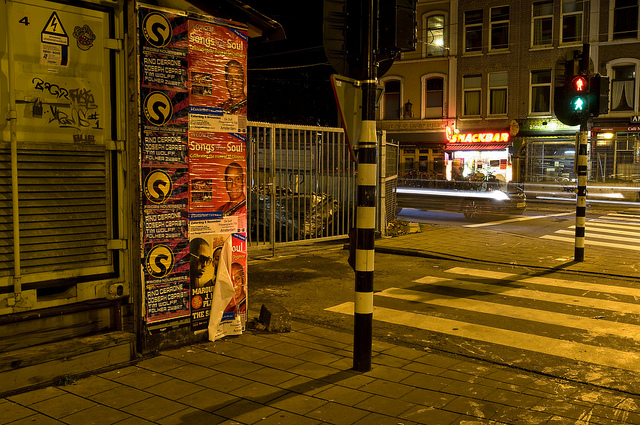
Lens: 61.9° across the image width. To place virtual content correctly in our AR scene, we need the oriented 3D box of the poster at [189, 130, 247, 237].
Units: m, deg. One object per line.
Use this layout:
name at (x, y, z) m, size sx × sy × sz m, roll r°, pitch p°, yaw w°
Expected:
poster at (-1.337, -0.383, 6.950) m, size 0.850 × 1.346 × 0.161 m, roll -6°, pitch 11°, yaw -42°
